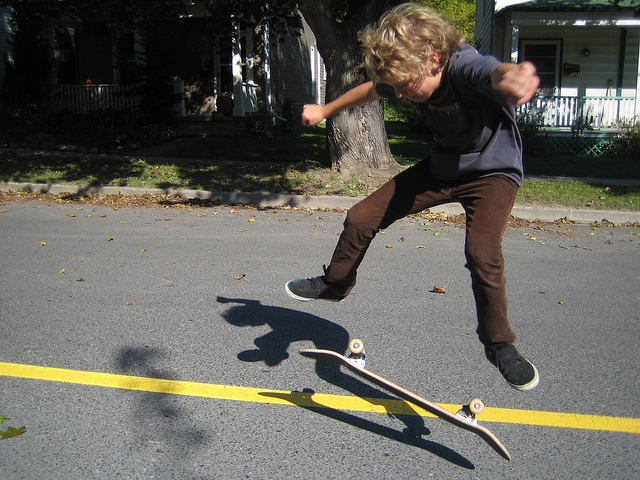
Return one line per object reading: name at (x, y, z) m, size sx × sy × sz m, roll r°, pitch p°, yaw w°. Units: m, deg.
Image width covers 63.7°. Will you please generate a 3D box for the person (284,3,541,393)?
person at (0.711, -0.295, 3.154) m, size 1.414 × 2.182 × 0.763 m, roll 9°, pitch 17°, yaw 27°
